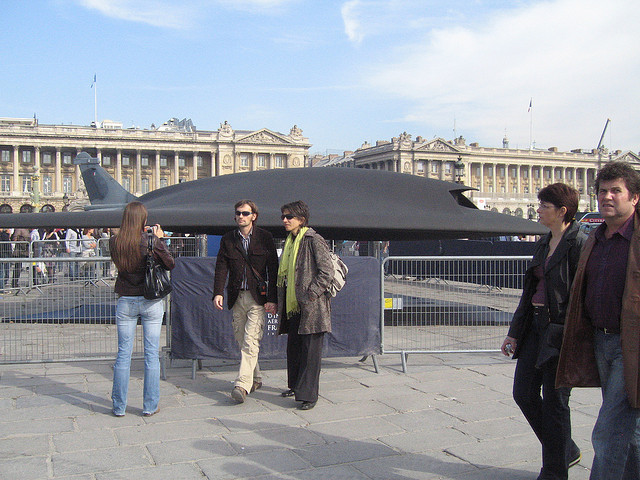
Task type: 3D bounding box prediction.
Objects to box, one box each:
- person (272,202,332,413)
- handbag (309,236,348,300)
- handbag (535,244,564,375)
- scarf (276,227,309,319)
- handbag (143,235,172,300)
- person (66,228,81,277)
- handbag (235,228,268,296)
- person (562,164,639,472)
[{"bbox_3d":[-0.174,0.631,7.833,0.459,1.993,0.762,-6,10,-39],"label":"person"},{"bbox_3d":[0.006,0.335,7.962,0.402,0.654,0.645,17,2,4],"label":"handbag"},{"bbox_3d":[1.749,0.651,6.115,0.178,0.751,0.317,-1,8,-12],"label":"handbag"},{"bbox_3d":[-0.300,0.333,7.959,0.300,0.923,0.244,4,9,24],"label":"scarf"},{"bbox_3d":[-1.553,0.257,7.532,0.253,0.601,0.203,-1,8,-12],"label":"handbag"},{"bbox_3d":[-5.758,0.276,18.461,0.366,1.235,0.438,3,10,8],"label":"person"},{"bbox_3d":[-0.697,0.228,8.003,0.382,0.645,0.124,5,9,31],"label":"handbag"},{"bbox_3d":[2.071,0.591,5.763,0.542,2.275,0.556,3,9,20],"label":"person"}]
